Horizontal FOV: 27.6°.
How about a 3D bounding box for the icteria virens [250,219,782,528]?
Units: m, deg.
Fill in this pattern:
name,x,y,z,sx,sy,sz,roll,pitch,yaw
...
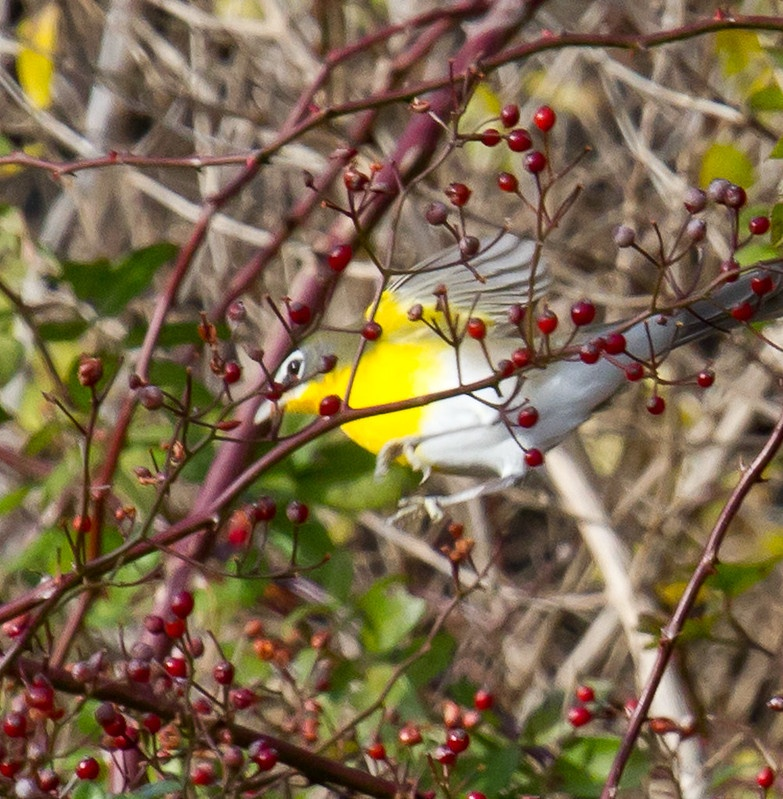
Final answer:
name,x,y,z,sx,sy,sz,roll,pitch,yaw
icteria virens,0.190,-0.026,2.175,0.551,0.238,0.163,-26,-43,3
